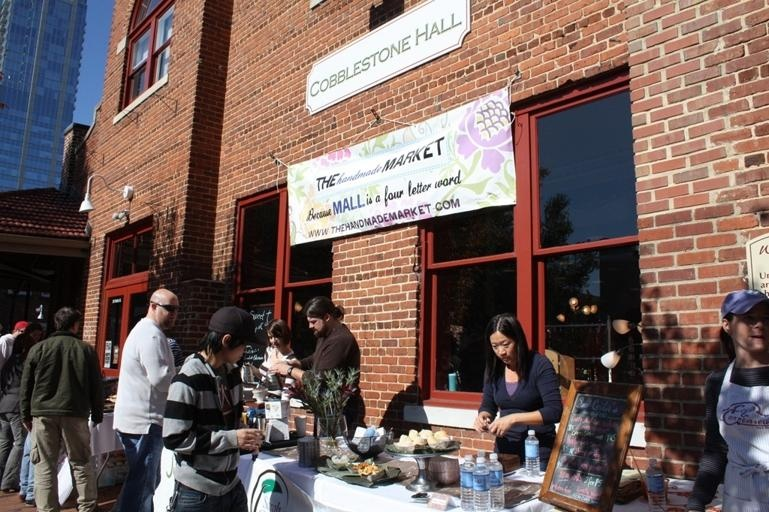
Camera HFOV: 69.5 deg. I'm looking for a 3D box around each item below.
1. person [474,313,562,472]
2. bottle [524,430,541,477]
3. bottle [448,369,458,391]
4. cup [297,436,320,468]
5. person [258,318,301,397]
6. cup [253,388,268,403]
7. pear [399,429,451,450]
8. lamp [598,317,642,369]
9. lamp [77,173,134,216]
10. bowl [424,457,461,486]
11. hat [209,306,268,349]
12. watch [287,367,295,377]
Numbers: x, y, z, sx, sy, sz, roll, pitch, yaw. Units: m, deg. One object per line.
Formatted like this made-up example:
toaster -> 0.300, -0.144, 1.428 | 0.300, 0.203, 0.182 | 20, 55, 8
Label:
person -> 1.327, 1.314, 5.363 | 0.681, 1.908, 0.787 | 28, -38, -29
bottle -> 1.302, 1.720, 4.880 | 0.128, 0.379, 0.281 | -3, -12, 15
bottle -> 0.851, 1.544, 6.862 | 0.156, 0.245, 0.028 | -11, -16, 41
cup -> -0.693, 1.788, 5.076 | 0.229, 0.269, 0.235 | 0, -12, 0
person -> -1.523, 1.421, 7.702 | 0.705, 1.035, 0.602 | 8, 9, 37
cup -> -1.528, 1.708, 6.806 | 0.169, 0.134, 0.174 | 1, -19, 0
pear -> 0.335, 1.545, 4.689 | 0.454, 0.138, 0.203 | -1, -12, 3
lamp -> 2.197, 0.821, 5.361 | 0.397, 0.518, 1.065 | -7, -14, 30
lamp -> -6.493, -1.534, 12.890 | 0.392, 0.756, 1.182 | 22, 23, 30
bowl -> 0.509, 1.809, 4.675 | 0.231, 0.178, 0.228 | -1, -11, 0
hat -> -1.249, 0.671, 4.928 | 0.544, 0.329, 0.383 | 11, -4, -19
watch -> -1.144, 1.406, 6.771 | 0.056, 0.077, 0.084 | 5, -27, 11
